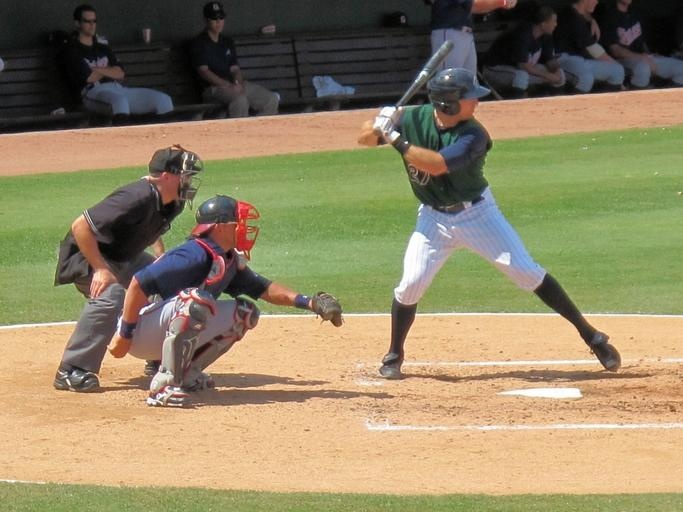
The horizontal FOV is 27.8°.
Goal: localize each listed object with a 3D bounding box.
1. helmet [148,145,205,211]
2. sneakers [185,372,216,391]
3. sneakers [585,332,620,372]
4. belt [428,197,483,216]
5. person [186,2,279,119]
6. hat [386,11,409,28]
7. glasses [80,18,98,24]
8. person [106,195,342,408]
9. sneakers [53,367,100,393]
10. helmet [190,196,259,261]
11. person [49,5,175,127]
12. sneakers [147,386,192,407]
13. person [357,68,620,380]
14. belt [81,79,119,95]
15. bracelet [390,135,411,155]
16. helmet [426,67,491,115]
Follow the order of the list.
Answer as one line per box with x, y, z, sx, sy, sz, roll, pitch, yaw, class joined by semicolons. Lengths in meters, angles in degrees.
-1.212;-0.609;10.218;0.477;0.419;0.343;11;11;20;helmet
-1.048;0.942;10.180;0.147;0.081;0.181;4;-6;-22;sneakers
1.976;0.694;10.372;0.203;0.154;0.355;-24;48;-14;sneakers
0.852;-0.369;10.087;0.363;0.126;0.081;0;17;6;belt
-1.389;-2.370;16.868;0.772;1.437;0.765;11;22;36;person
0.807;-3.308;19.461;0.300;0.154;0.290;6;8;43;hat
-2.917;-2.691;15.860;0.167;0.059;0.080;-10;18;-28;glasses
-0.841;0.317;10.171;1.797;1.173;1.090;1;3;-22;person
-1.946;0.921;10.134;0.381;0.133;0.137;1;5;18;sneakers
-0.861;-0.247;10.007;0.571;0.373;0.429;2;16;8;helmet
-2.695;-2.229;16.026;1.077;1.341;0.866;-5;17;-9;person
-1.241;1.021;9.970;0.302;0.111;0.129;-1;0;11;sneakers
0.962;-0.231;10.260;1.593;2.293;0.539;-3;18;-2;person
-2.742;-1.959;16.022;0.272;0.145;0.496;12;20;41;belt
0.434;-0.792;9.994;0.131;0.059;0.163;-30;60;-17;bracelet
0.886;-1.216;10.037;0.525;0.267;0.357;3;26;29;helmet
